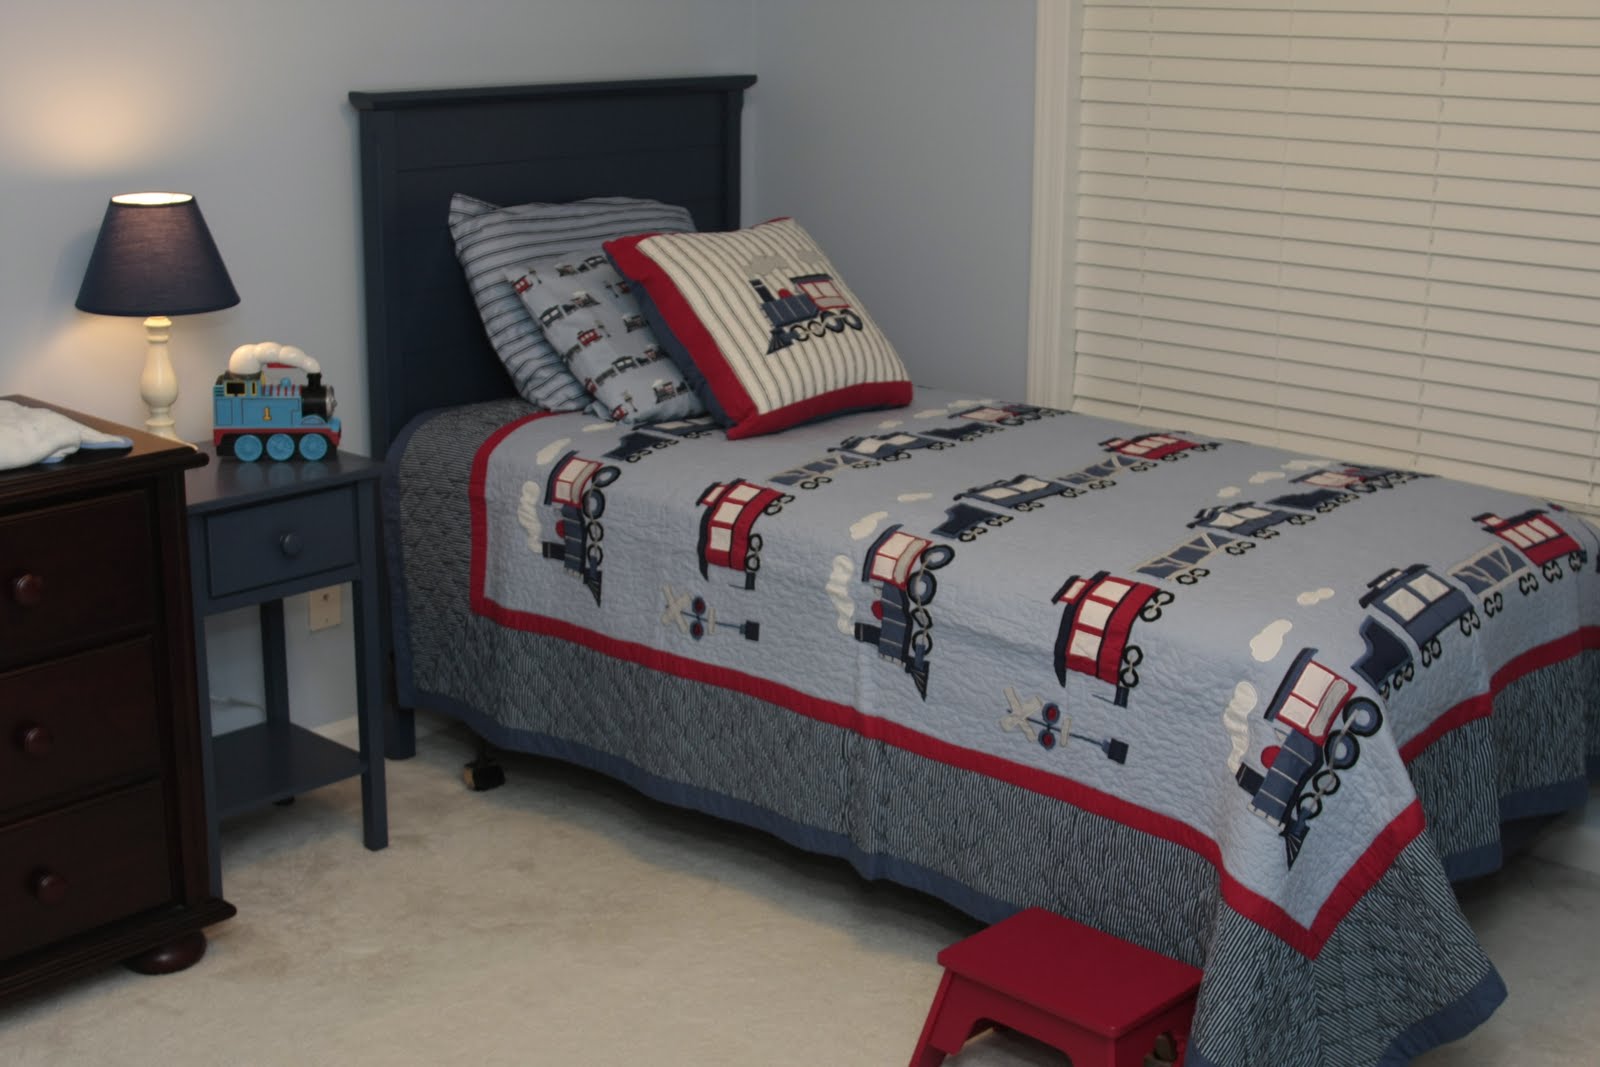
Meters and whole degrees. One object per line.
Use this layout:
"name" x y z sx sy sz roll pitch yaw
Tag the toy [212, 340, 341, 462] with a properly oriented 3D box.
"toy" -1.186 -0.288 2.891 0.344 0.283 0.136 2 14 4
